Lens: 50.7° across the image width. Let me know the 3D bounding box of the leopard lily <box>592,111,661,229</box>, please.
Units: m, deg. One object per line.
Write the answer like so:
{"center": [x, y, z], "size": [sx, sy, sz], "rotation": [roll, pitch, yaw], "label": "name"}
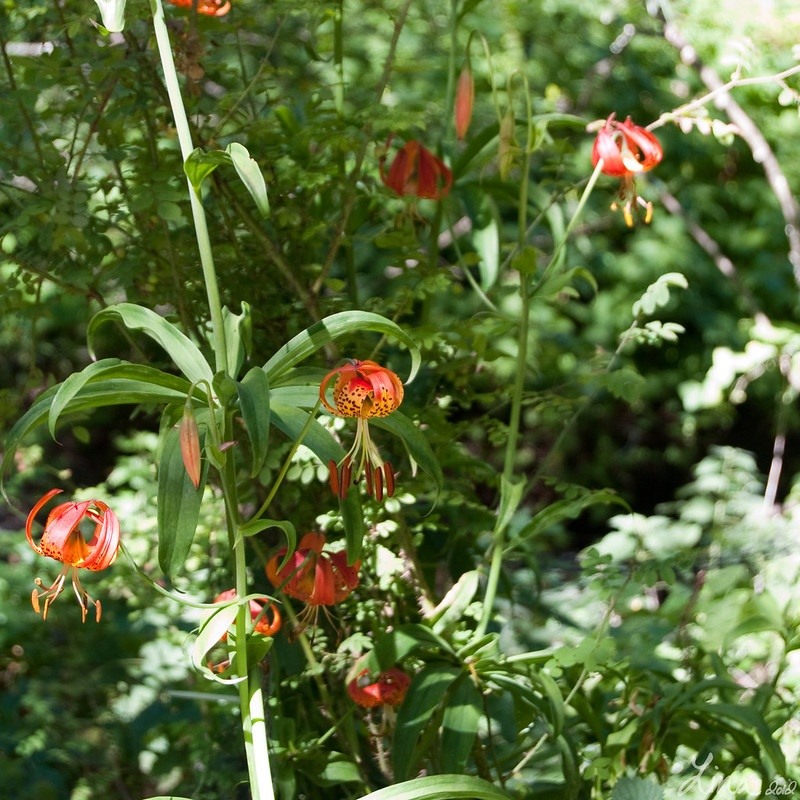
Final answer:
{"center": [0.350, -0.345, 1.272], "size": [0.114, 0.148, 0.109], "rotation": [-6, 6, -36], "label": "leopard lily"}
